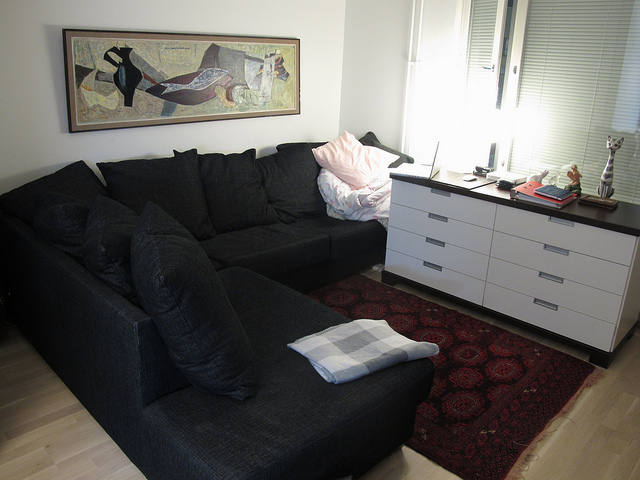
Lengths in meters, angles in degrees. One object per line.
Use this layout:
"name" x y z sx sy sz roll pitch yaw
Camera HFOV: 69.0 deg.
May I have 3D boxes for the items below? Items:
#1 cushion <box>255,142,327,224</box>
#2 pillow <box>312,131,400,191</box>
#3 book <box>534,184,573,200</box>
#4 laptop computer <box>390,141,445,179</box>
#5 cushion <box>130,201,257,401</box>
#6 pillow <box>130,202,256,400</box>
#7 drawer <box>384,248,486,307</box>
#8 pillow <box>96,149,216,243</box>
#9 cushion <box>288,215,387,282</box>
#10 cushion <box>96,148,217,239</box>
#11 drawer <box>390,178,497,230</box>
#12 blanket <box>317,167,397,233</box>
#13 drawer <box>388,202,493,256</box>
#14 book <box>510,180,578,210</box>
"cushion" -0.273 -0.442 3.882 0.603 0.606 0.176 -25 4 -30
"pillow" 0.269 -0.675 3.902 0.537 0.172 0.555 37 46 20
"book" 1.464 -0.303 2.919 0.140 0.035 0.145 20 31 33
"laptop computer" 0.757 -0.641 3.499 0.358 0.296 0.525 9 18 19
"cushion" -0.548 0.278 2.004 0.388 0.528 0.741 -14 50 -20
"pillow" -0.586 0.249 2.094 0.478 0.693 0.817 -5 24 -23
"drawer" 0.859 0.270 3.382 0.462 0.108 0.422 22 14 25
"pillow" -1.074 -0.259 3.221 0.733 0.670 0.381 -21 16 -32
"cushion" 0.224 -0.101 3.692 0.501 0.358 0.715 -19 29 -32
"cushion" -1.098 -0.284 3.232 0.712 0.581 0.332 -19 33 -41
"drawer" 0.877 -0.251 3.234 0.468 0.114 0.430 20 22 28
"blanket" 0.261 -0.353 3.737 0.526 0.166 0.532 20 41 29
"drawer" 0.864 -0.079 3.286 0.461 0.107 0.419 22 13 32
"book" 1.435 -0.300 2.985 0.317 0.098 0.342 16 31 39
